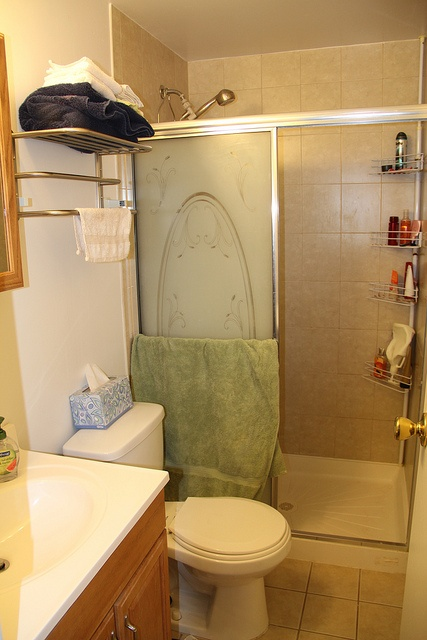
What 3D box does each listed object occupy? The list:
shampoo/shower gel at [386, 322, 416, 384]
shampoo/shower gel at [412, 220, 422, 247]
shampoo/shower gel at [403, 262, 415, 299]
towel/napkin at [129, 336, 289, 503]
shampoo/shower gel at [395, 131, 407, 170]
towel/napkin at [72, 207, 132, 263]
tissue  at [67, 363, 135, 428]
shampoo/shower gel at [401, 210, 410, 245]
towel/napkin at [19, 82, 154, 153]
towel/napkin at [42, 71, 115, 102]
[{"bbox_3d":[0.982,0.181,2.588,0.087,0.308,0.258,0,6,-5],"label":"shampoo/shower gel"},{"bbox_3d":[1.000,-0.428,2.405,0.059,0.103,0.024,4,16,32],"label":"shampoo/shower gel"},{"bbox_3d":[1.021,-0.207,2.532,0.055,0.175,0.148,2,7,21],"label":"shampoo/shower gel"},{"bbox_3d":[-0.030,0.379,1.930,0.645,0.743,0.126,3,13,15],"label":"towel/napkin"},{"bbox_3d":[0.948,-0.856,2.466,0.058,0.180,0.140,2,7,20],"label":"shampoo/shower gel"},{"bbox_3d":[-0.364,-0.255,1.471,0.083,0.181,0.233,4,10,12],"label":"towel/napkin"},{"bbox_3d":[-0.373,0.200,1.688,0.162,0.191,0.288,2,10,19],"label":"tissue "},{"bbox_3d":[0.993,-0.470,2.526,0.053,0.167,0.184,2,7,20],"label":"shampoo/shower gel"},{"bbox_3d":[-0.338,-0.538,1.308,0.183,0.058,0.186,2,4,20],"label":"towel/napkin"},{"bbox_3d":[-0.351,-0.598,1.257,0.105,0.034,0.110,17,27,37],"label":"towel/napkin"}]
